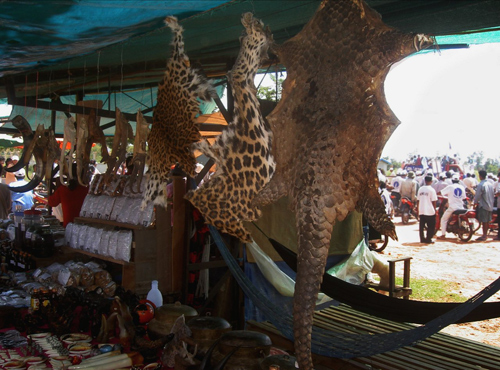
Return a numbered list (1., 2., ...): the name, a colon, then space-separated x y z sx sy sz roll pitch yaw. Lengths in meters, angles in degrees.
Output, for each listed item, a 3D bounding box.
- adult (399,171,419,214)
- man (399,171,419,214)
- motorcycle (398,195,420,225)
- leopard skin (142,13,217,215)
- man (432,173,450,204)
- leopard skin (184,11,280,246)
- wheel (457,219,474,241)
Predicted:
1. adult: 4.869 0.142 12.836 0.503 0.667 1.123 4 20 24
2. man: 4.856 0.140 12.835 0.503 0.667 1.123 4 20 24
3. motorcycle: 5.229 0.674 13.597 0.562 0.974 1.537 1 1 39
4. leopard skin: -0.408 -0.356 2.286 0.344 1.240 0.399 -4 20 -31
5. man: 5.285 0.115 11.600 0.255 0.914 0.362 -13 -44 44
6. leopard skin: -0.050 -0.268 2.103 0.399 1.044 0.405 -11 20 -42
7. wheel: 5.652 1.168 11.032 0.489 0.519 0.128 14 9 30
